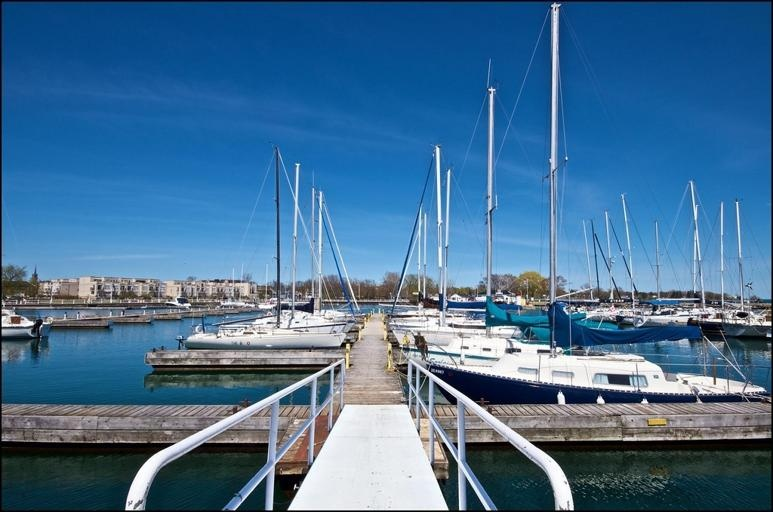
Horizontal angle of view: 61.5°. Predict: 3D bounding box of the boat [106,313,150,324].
[{"bbox_3d":[-21.752,5.442,55.547,3.614,0.819,2.584,1,-7,-37],"label":"boat"}]
